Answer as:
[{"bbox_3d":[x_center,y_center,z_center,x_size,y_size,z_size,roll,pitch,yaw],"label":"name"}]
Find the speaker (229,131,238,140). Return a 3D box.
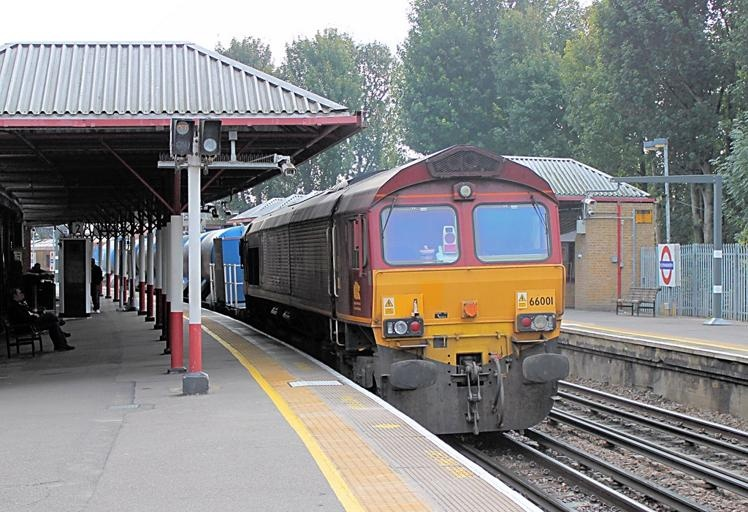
[{"bbox_3d":[-2.919,-2.487,11.952,0.184,0.188,0.188,-1,-5,-7],"label":"speaker"}]

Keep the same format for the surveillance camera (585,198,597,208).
[{"bbox_3d":[9.933,-2.410,26.255,0.622,0.416,0.229,-2,2,-33],"label":"surveillance camera"}]

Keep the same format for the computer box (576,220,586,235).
[{"bbox_3d":[9.919,-1.378,27.590,0.365,0.747,0.474,-3,2,-39],"label":"computer box"}]

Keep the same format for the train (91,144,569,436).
[{"bbox_3d":[0.072,0.794,12.024,2.960,5.432,7.342,-2,1,-35],"label":"train"}]

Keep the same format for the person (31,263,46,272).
[{"bbox_3d":[-23.666,0.857,40.503,0.821,0.376,1.110,2,-6,-18],"label":"person"}]
